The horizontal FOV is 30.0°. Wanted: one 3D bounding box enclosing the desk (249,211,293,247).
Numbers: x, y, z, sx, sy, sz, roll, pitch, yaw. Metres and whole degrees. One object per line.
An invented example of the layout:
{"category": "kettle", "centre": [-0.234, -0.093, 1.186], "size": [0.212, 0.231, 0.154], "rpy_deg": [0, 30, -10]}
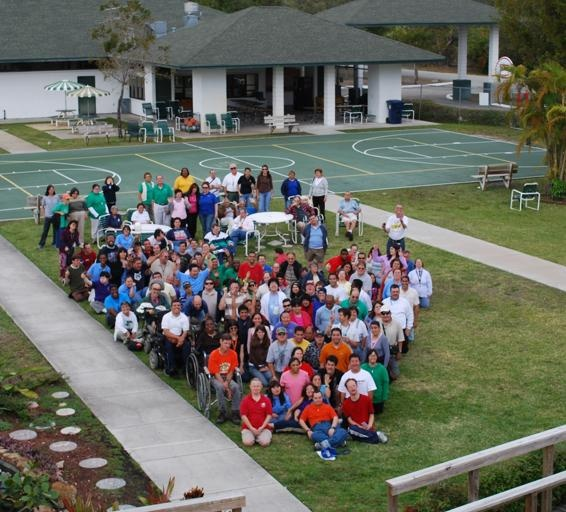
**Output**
{"category": "desk", "centre": [-0.383, -0.683, 29.653], "size": [1.183, 1.045, 1.204], "rpy_deg": [1, 12, -21]}

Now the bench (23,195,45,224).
{"category": "bench", "centre": [-7.644, -1.377, 32.461], "size": [0.946, 0.623, 0.386], "rpy_deg": [-6, 14, -42]}

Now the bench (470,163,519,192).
{"category": "bench", "centre": [7.564, -2.833, 37.703], "size": [1.541, 0.879, 1.325], "rpy_deg": [-2, 9, -6]}

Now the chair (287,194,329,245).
{"category": "chair", "centre": [0.572, -1.017, 29.726], "size": [0.993, 1.382, 0.935], "rpy_deg": [-1, 13, -31]}

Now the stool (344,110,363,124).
{"category": "stool", "centre": [3.756, -7.424, 57.805], "size": [1.086, 0.791, 1.075], "rpy_deg": [-5, 18, -16]}

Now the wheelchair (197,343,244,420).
{"category": "wheelchair", "centre": [-1.208, 2.246, 19.824], "size": [0.959, 1.465, 0.975], "rpy_deg": [3, 10, 24]}

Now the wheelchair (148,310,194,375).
{"category": "wheelchair", "centre": [-2.361, 1.755, 21.473], "size": [0.536, 1.013, 1.633], "rpy_deg": [-1, 6, -11]}

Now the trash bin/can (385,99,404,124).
{"category": "trash bin/can", "centre": [5.850, -7.566, 55.704], "size": [0.872, 1.275, 0.812], "rpy_deg": [-1, 9, 4]}

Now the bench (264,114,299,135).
{"category": "bench", "centre": [-0.084, -6.687, 53.645], "size": [1.663, 0.853, 2.097], "rpy_deg": [-1, 9, 1]}
